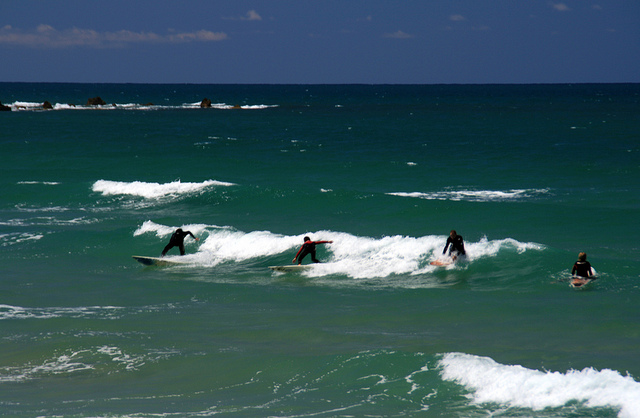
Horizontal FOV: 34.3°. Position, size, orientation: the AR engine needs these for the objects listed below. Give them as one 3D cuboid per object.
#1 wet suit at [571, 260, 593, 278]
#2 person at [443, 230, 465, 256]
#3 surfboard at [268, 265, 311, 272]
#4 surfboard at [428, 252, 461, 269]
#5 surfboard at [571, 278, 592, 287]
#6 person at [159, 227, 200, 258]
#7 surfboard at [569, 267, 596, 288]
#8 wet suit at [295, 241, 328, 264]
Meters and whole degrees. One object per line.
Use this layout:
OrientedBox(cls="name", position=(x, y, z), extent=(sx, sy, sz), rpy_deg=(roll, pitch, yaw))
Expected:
OrientedBox(cls="wet suit", position=(14.695, 3.392, 57.522), extent=(1.245, 0.864, 0.597), rpy_deg=(3, 10, 23))
OrientedBox(cls="person", position=(7.881, 2.021, 59.851), extent=(1.156, 1.451, 0.481), rpy_deg=(-2, 2, 6))
OrientedBox(cls="surfboard", position=(-1.363, 3.486, 60.254), extent=(3.005, 0.423, 0.256), rpy_deg=(-2, 9, 9))
OrientedBox(cls="surfboard", position=(7.328, 3.068, 59.949), extent=(1.683, 0.797, 0.314), rpy_deg=(-18, 43, 5))
OrientedBox(cls="surfboard", position=(14.507, 4.076, 57.264), extent=(0.809, 0.260, 0.529), rpy_deg=(-7, 8, -25))
OrientedBox(cls="person", position=(-8.446, 2.109, 62.201), extent=(1.805, 2.650, 0.674), rpy_deg=(-1, 51, -12))
OrientedBox(cls="surfboard", position=(14.729, 3.866, 57.364), extent=(1.477, 0.334, 0.971), rpy_deg=(-40, 42, -22))
OrientedBox(cls="wet suit", position=(-0.481, 2.558, 60.623), extent=(1.738, 1.285, 1.042), rpy_deg=(-2, 1, -12))
